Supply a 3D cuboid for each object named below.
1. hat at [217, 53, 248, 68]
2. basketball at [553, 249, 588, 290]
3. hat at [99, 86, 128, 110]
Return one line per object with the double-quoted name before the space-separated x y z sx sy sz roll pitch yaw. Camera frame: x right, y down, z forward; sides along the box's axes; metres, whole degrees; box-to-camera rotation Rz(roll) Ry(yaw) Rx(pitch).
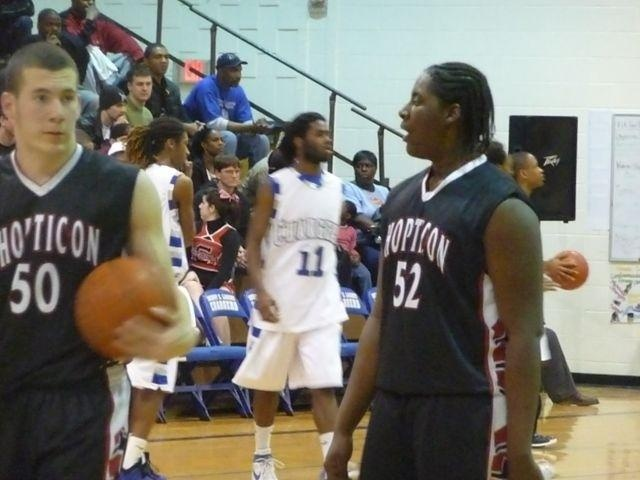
"hat" -0.891 -1.776 7.866 0.222 0.113 0.165 -3 8 6
"basketball" 1.299 0.151 4.079 0.249 0.190 0.126 1 3 -44
"hat" -1.734 -1.188 6.708 0.189 0.175 0.190 -4 2 -23
